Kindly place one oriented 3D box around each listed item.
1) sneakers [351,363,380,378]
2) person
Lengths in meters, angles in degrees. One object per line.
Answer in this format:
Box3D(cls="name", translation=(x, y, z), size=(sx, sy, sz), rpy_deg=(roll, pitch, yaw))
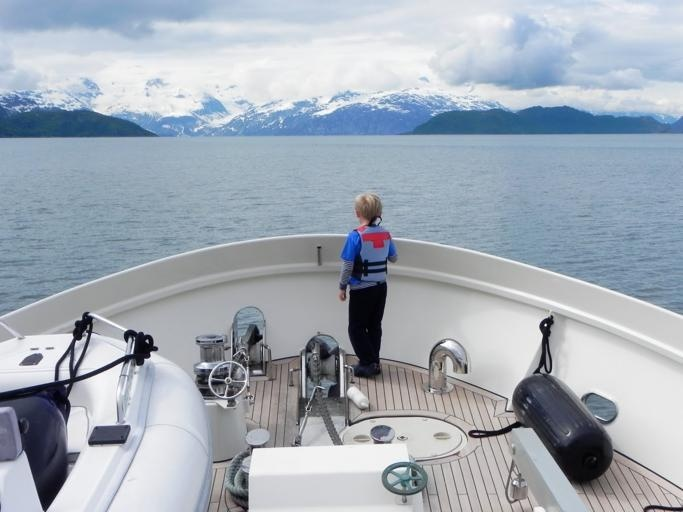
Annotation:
Box3D(cls="sneakers", translation=(0.249, 1.126, 6.025), size=(0.221, 0.112, 0.130), rpy_deg=(7, 9, -4))
Box3D(cls="person", translation=(0.231, 0.307, 5.785), size=(0.487, 1.757, 0.346), rpy_deg=(-6, 24, -11))
